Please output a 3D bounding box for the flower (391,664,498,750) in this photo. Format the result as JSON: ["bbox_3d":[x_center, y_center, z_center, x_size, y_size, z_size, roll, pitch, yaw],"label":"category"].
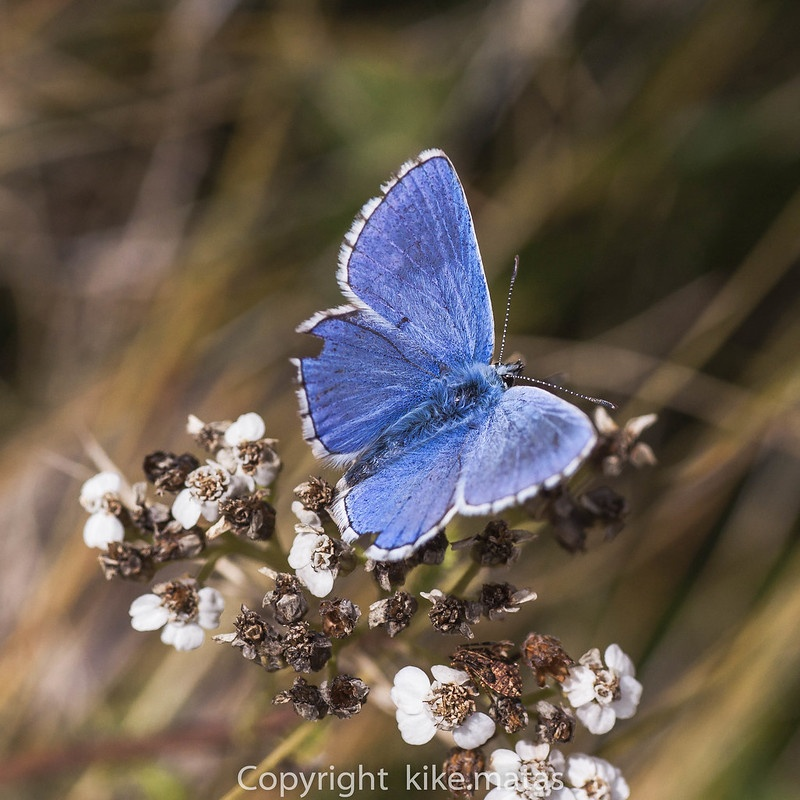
[{"bbox_3d":[0.168,1.295,4.634,0.432,0.429,0.194,8,22,4],"label":"flower"}]

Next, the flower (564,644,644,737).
[{"bbox_3d":[0.816,1.170,4.657,0.411,0.327,0.166,15,-12,-25],"label":"flower"}]
